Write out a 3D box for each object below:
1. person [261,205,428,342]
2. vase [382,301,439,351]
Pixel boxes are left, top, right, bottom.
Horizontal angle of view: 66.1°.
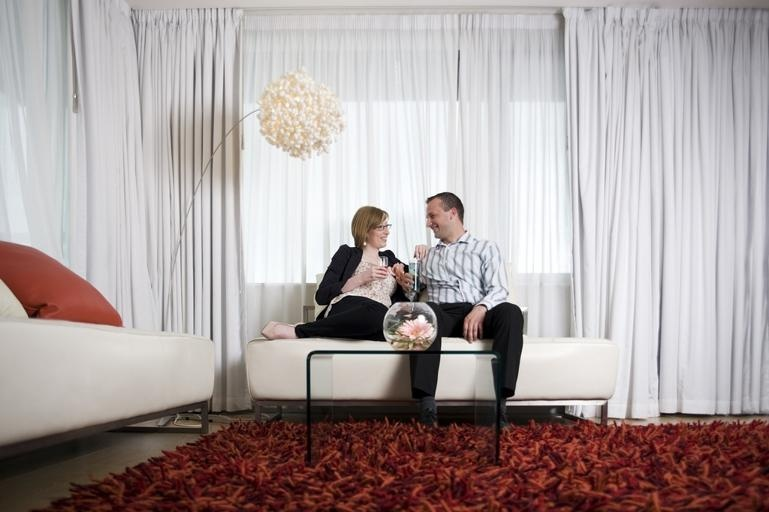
[{"bbox_3d":[-0.100,0.100,4.022,1.336,0.963,0.796,2,-11,-11],"label":"person"},{"bbox_3d":[0.139,0.382,3.203,0.313,0.283,0.334,1,3,11],"label":"vase"}]
